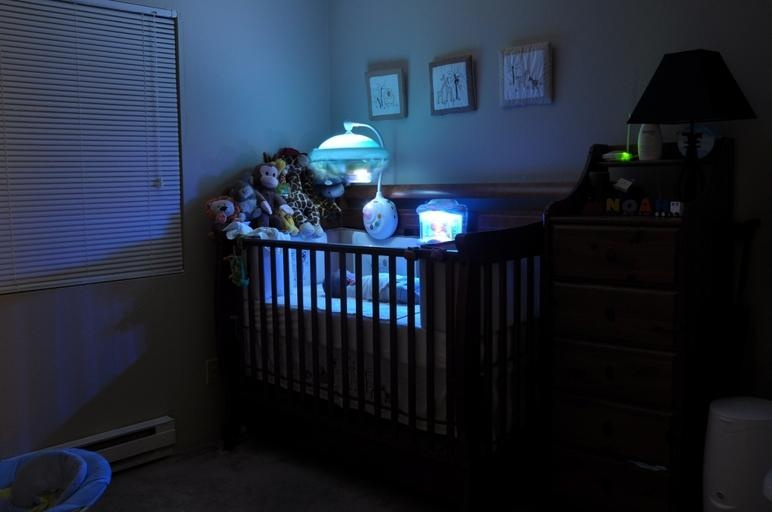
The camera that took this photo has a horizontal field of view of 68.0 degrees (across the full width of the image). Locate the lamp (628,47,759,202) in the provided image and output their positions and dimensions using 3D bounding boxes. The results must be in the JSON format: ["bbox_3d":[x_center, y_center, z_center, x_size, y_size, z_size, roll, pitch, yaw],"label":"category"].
[{"bbox_3d":[1.430,-0.548,2.696,0.589,0.749,0.648,1,4,-4],"label":"lamp"}]

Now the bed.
[{"bbox_3d":[0.092,0.548,3.386,2.041,1.651,1.335,6,9,38],"label":"bed"}]

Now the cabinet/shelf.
[{"bbox_3d":[1.193,0.390,2.681,0.861,1.160,0.504,1,16,13],"label":"cabinet/shelf"}]

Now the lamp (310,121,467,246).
[{"bbox_3d":[0.097,-0.447,3.473,0.915,0.570,0.674,5,-5,-39],"label":"lamp"}]
